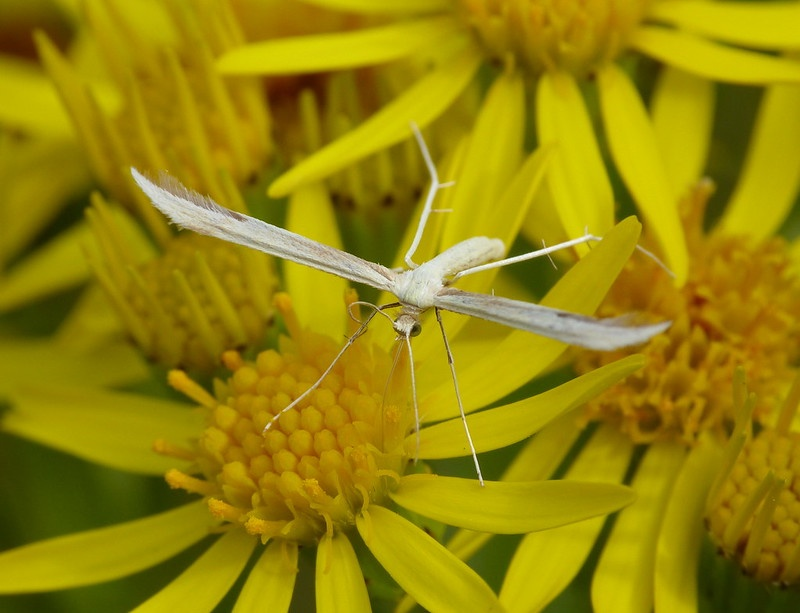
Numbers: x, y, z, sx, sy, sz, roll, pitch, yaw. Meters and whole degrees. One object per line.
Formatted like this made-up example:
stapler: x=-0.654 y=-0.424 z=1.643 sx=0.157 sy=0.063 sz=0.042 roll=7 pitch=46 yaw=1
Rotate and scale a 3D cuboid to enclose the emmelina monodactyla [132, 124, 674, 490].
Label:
emmelina monodactyla: x=0.010 y=-0.022 z=0.795 sx=0.413 sy=0.277 sz=0.209 roll=23 pitch=-6 yaw=24
